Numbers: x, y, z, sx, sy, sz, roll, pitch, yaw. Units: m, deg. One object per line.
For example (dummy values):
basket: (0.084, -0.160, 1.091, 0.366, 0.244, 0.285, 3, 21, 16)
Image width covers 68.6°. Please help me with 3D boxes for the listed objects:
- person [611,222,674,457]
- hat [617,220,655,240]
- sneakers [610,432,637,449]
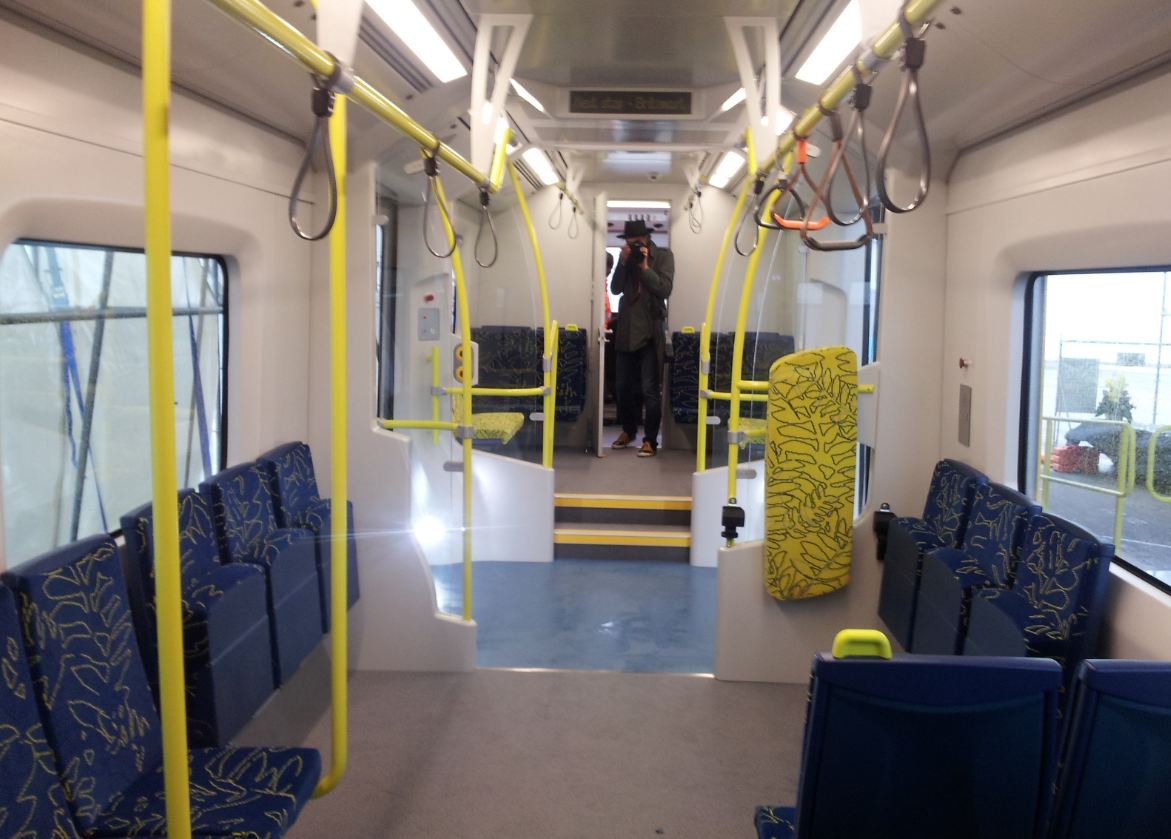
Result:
person: (0.502, -0.720, 7.955, 0.524, 2.168, 0.614, -10, 16, -39)
hat: (0.469, -1.704, 7.875, 0.262, 0.129, 0.323, -9, 15, 7)
sneakers: (0.381, 0.234, 8.493, 0.102, 0.134, 0.304, -1, -4, 32)
